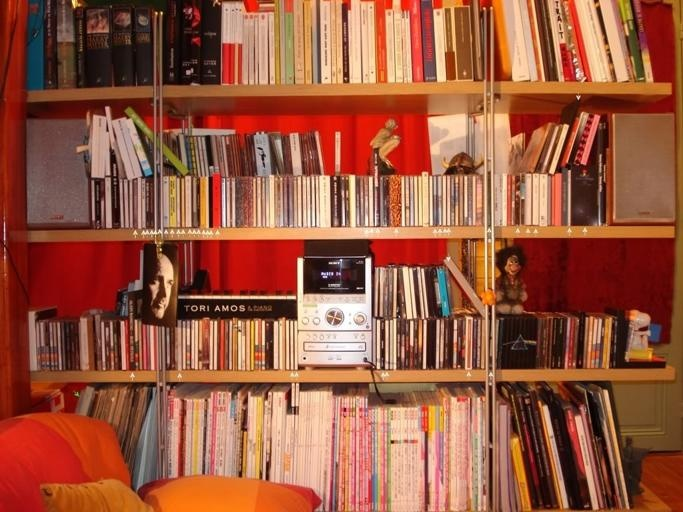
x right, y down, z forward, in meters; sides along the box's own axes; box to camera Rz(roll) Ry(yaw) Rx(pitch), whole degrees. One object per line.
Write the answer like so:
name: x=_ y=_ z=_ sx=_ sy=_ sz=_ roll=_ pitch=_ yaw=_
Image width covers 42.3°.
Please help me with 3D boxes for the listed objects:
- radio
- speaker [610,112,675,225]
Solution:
radio: x=-0.034 y=0.246 z=3.908 sx=0.374 sy=0.657 sz=0.415 roll=0 pitch=2 yaw=1
speaker: x=1.350 y=-0.379 z=3.956 sx=0.230 sy=0.525 sz=0.145 roll=4 pitch=5 yaw=12
